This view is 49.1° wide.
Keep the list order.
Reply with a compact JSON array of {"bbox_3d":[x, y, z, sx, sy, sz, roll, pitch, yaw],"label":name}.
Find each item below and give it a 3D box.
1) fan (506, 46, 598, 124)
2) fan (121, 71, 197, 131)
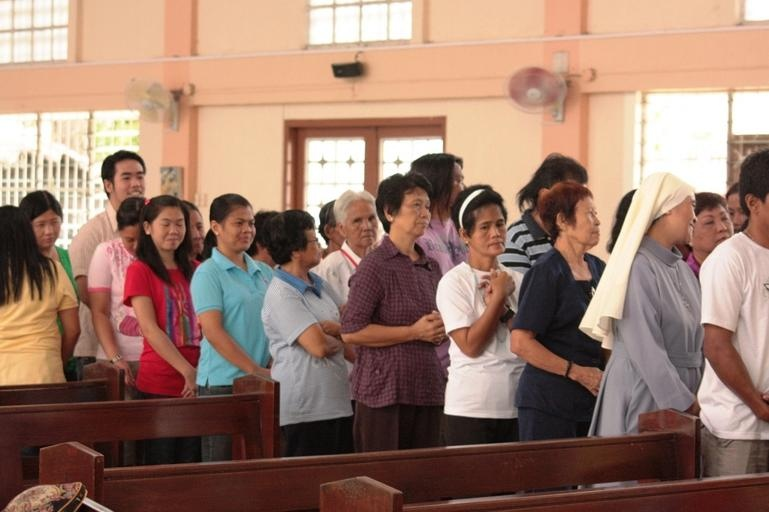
[{"bbox_3d":[1.709,-1.849,9.084,0.952,0.655,0.710,-14,0,-7],"label":"fan"},{"bbox_3d":[-2.863,-1.797,10.163,1.106,0.668,0.872,-5,-17,-17],"label":"fan"}]
